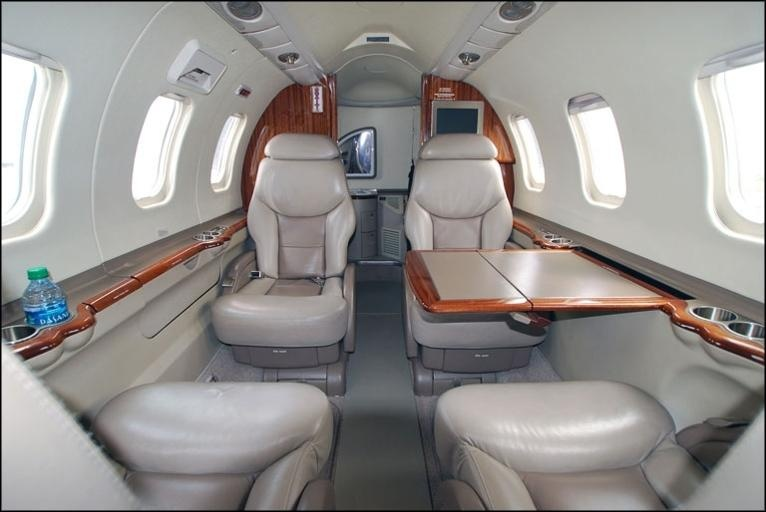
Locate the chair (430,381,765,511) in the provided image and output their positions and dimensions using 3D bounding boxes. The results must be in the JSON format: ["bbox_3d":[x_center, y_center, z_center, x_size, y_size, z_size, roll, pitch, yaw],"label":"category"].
[{"bbox_3d":[0.670,0.703,1.706,0.948,0.297,0.503,0,12,2],"label":"chair"}]

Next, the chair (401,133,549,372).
[{"bbox_3d":[0.562,-0.059,3.163,0.825,1.516,1.065,0,12,3],"label":"chair"}]

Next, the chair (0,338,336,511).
[{"bbox_3d":[-0.611,0.522,1.572,0.864,0.661,0.647,-1,12,-5],"label":"chair"}]

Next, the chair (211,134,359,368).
[{"bbox_3d":[-0.619,-0.084,3.172,0.853,1.472,1.045,-1,12,-4],"label":"chair"}]

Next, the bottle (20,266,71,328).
[{"bbox_3d":[-1.320,0.176,1.879,0.145,0.173,0.187,7,14,30],"label":"bottle"}]

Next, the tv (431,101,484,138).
[{"bbox_3d":[0.657,-1.231,4.170,0.469,0.292,0.075,-1,12,-5],"label":"tv"}]
